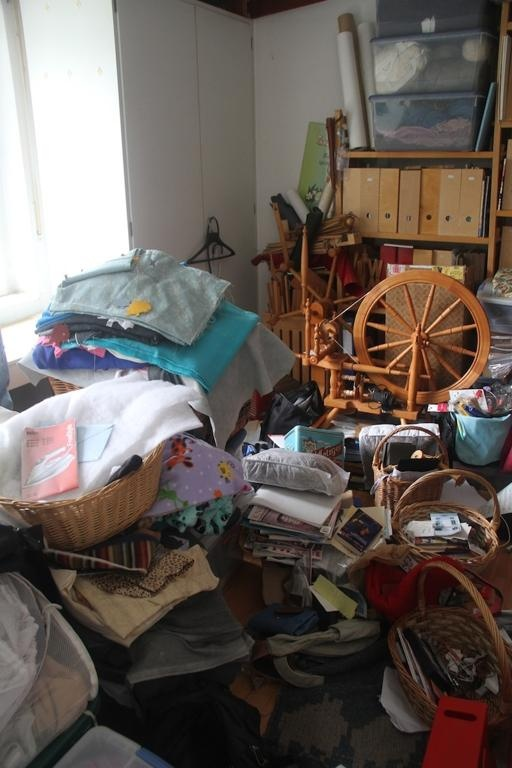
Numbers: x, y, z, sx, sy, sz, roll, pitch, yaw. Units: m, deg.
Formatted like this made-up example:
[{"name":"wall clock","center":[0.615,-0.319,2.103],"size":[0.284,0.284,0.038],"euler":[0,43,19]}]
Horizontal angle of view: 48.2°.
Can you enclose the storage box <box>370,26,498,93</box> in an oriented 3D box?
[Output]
[{"name":"storage box","center":[0.822,-1.481,2.727],"size":[0.474,0.215,0.334],"euler":[6,28,19]}]

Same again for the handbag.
[{"name":"handbag","center":[0.175,0.122,2.724],"size":[0.210,0.230,0.643],"euler":[1,20,16]}]

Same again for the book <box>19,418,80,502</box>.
[{"name":"book","center":[-0.375,0.147,1.048],"size":[0.100,0.018,0.173],"euler":[-11,35,-11]}]

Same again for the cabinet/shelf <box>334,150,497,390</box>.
[{"name":"cabinet/shelf","center":[0.766,-0.561,2.976],"size":[0.790,1.204,0.636],"euler":[5,22,26]}]

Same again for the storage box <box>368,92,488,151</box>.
[{"name":"storage box","center":[0.837,-1.275,2.860],"size":[0.440,0.198,0.304],"euler":[8,27,25]}]
